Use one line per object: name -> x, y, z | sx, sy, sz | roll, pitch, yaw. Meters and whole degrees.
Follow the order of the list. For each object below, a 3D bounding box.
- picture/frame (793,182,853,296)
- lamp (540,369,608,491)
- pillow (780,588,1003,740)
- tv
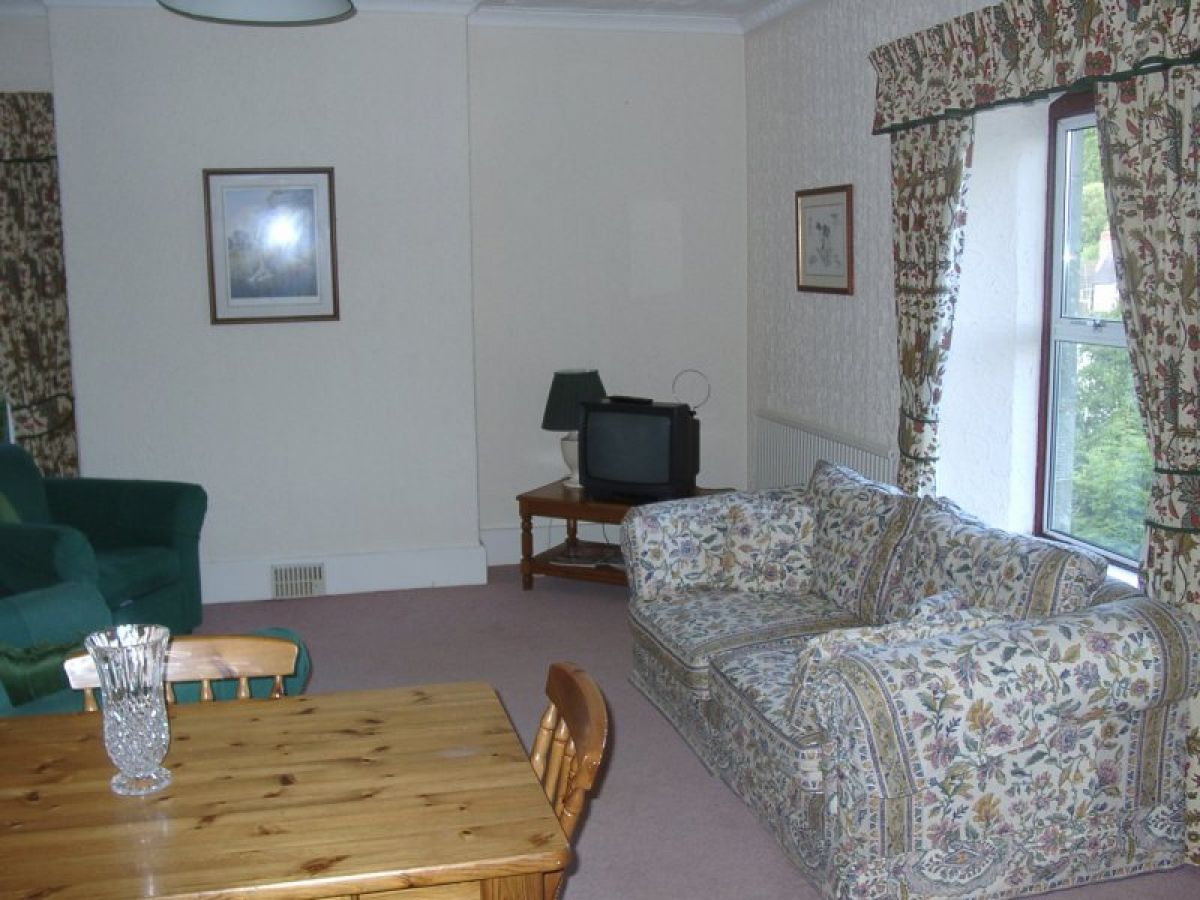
picture/frame -> 1.306, -1.228, 5.778 | 0.047, 0.718, 0.669 | -5, 6, -19
lamp -> -0.134, -0.132, 6.289 | 0.408, 0.713, 0.416 | 0, 4, 39
pillow -> 0.966, 0.649, 3.352 | 0.621, 0.296, 0.397 | -17, 18, -16
tv -> 0.208, -0.028, 6.128 | 0.630, 0.651, 0.568 | 3, 7, 10
